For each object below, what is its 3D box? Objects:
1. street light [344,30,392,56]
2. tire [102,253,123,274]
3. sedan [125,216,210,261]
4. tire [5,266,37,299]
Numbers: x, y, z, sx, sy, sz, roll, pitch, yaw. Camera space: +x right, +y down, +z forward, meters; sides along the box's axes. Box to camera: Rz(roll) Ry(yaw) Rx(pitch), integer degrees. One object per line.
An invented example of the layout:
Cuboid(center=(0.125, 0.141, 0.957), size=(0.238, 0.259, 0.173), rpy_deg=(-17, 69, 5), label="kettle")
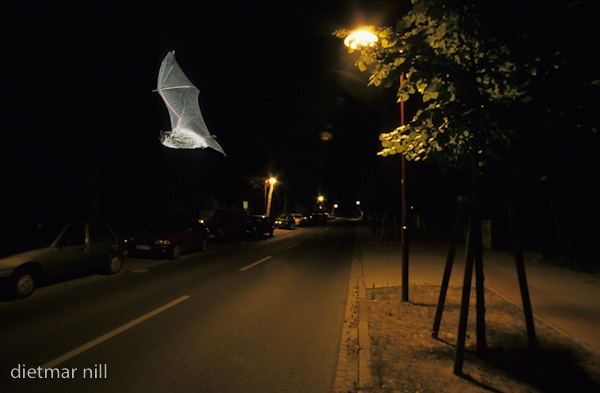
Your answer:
Cuboid(center=(1.570, -3.722, 10.546), size=(1.075, 0.647, 0.389), rpy_deg=(-5, -6, 44), label="street light")
Cuboid(center=(-6.727, 2.383, 15.780), size=(0.232, 0.783, 0.712), rpy_deg=(-1, 2, 17), label="tire")
Cuboid(center=(-5.860, 1.837, 20.387), size=(2.124, 1.866, 4.215), rpy_deg=(-1, -3, 20), label="sedan")
Cuboid(center=(-8.481, 2.600, 13.353), size=(0.318, 1.142, 0.906), rpy_deg=(2, -2, 16), label="tire")
